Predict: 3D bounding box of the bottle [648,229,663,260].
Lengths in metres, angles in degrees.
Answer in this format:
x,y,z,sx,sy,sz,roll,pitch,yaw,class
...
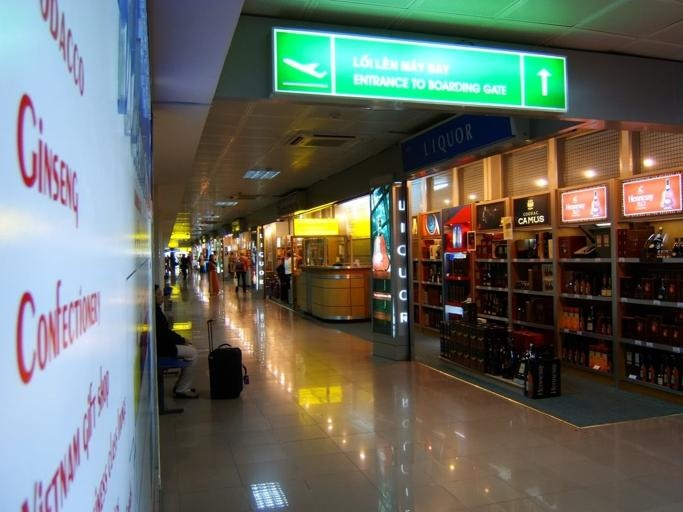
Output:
x,y,z,sx,sy,sz,roll,pitch,yaw,class
3.325,-0.124,5.468,0.141,0.241,0.343,-1,1,35,bottle

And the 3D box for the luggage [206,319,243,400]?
x,y,z,sx,sy,sz,roll,pitch,yaw,class
-1.299,1.311,5.798,0.359,0.818,0.218,-1,0,-12,luggage

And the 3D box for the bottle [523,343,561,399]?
x,y,z,sx,sy,sz,roll,pitch,yaw,class
2.162,1.261,5.571,0.377,0.473,0.255,-1,0,16,bottle

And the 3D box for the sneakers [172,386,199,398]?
x,y,z,sx,sy,sz,roll,pitch,yaw,class
-1.744,1.557,5.841,0.300,0.133,0.105,1,-5,-10,sneakers

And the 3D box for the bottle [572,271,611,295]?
x,y,z,sx,sy,sz,roll,pitch,yaw,class
3.026,0.344,6.198,0.188,0.223,0.580,-1,0,-22,bottle
